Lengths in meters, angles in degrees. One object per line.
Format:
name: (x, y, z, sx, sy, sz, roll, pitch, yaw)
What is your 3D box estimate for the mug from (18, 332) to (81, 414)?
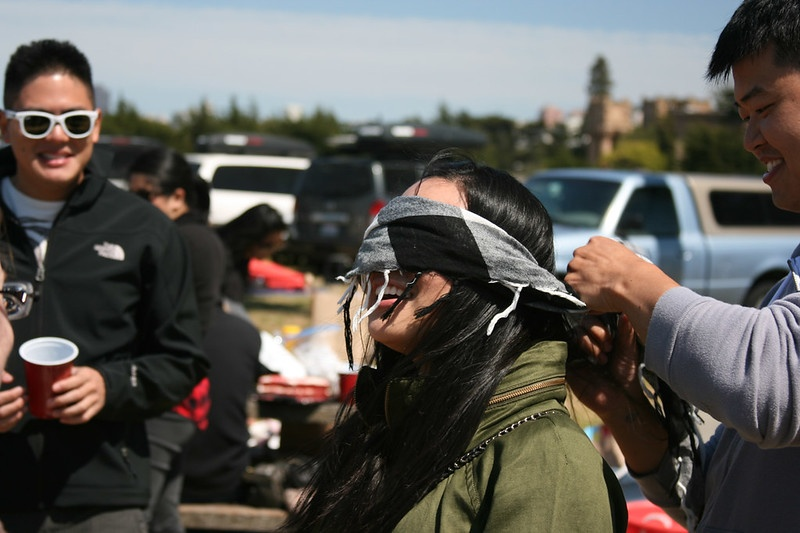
mug: (-1.570, 0.504, 6.090, 0.278, 0.348, 0.200, -4, 13, -27)

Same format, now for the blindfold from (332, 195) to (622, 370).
blindfold: (0.265, 0.120, 5.733, 0.754, 0.400, 0.720, 5, -19, -24)

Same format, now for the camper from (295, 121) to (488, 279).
camper: (-0.671, -0.724, 16.113, 1.634, 1.498, 2.600, 2, 10, 21)
